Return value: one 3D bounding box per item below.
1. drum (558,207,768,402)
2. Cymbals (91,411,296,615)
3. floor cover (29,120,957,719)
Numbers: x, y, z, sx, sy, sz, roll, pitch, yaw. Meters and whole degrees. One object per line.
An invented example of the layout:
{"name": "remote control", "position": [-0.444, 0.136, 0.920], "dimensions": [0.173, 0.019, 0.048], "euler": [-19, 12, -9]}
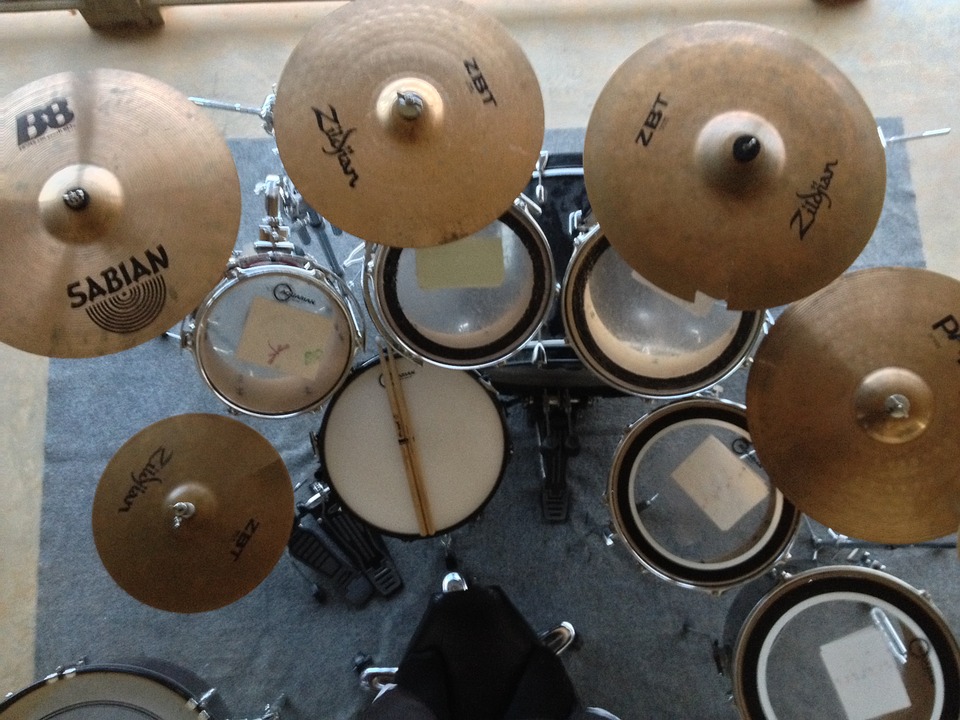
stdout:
{"name": "drum", "position": [0.593, -0.224, 3.710], "dimensions": [0.586, 0.628, 0.640], "euler": [-22, 101, 4]}
{"name": "Cymbals", "position": [-0.958, 0.502, 3.424], "dimensions": [0.636, 0.240, 0.621], "euler": [12, 67, 8]}
{"name": "floor cover", "position": [0.058, 0.260, 3.480], "dimensions": [2.132, 0.552, 2.239], "euler": [0, 89, 0]}
